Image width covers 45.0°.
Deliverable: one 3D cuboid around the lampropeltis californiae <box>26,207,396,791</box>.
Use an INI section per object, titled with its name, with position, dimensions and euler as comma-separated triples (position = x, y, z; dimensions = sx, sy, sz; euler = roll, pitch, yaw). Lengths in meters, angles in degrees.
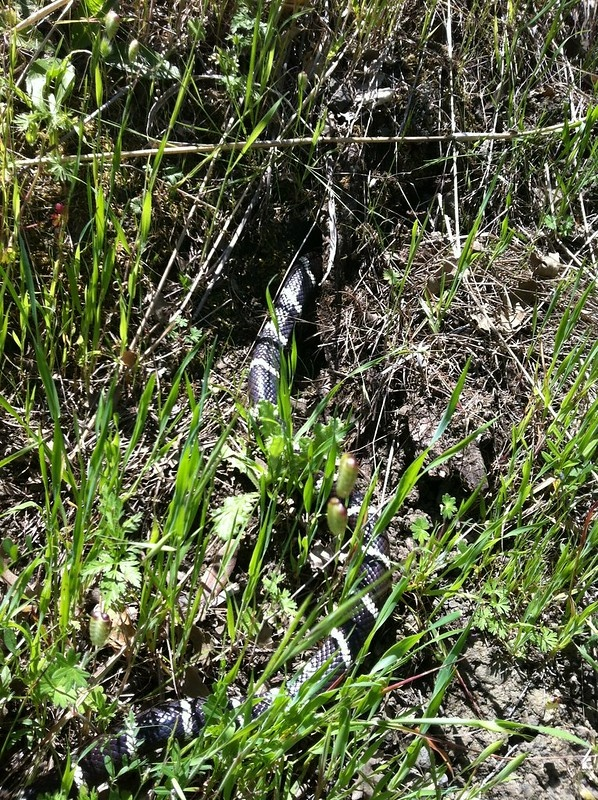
[lampropeltis californiae]
position = 0.004, 0.220, 2.620
dimensions = 0.192, 0.642, 2.458
euler = 23, 70, 27
